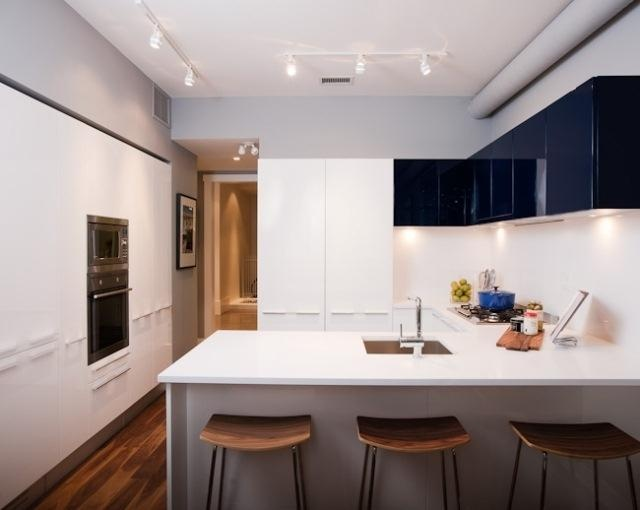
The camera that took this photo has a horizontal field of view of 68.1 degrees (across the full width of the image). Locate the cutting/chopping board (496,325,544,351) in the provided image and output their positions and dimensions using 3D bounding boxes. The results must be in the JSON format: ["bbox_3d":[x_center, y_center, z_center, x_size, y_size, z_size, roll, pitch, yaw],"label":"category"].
[{"bbox_3d":[1.373,0.582,3.220,0.265,0.040,0.434,7,14,32],"label":"cutting/chopping board"}]

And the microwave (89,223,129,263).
[{"bbox_3d":[-1.766,-0.084,3.761,0.224,0.354,0.465,1,2,17],"label":"microwave"}]

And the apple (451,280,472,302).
[{"bbox_3d":[1.397,0.382,4.722,0.198,0.091,0.206,-14,-21,33],"label":"apple"}]

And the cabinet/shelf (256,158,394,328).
[{"bbox_3d":[0.082,-0.126,4.231,1.247,2.215,0.732,0,1,3],"label":"cabinet/shelf"}]

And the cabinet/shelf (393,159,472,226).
[{"bbox_3d":[1.071,-0.581,4.532,0.550,0.567,0.202,0,0,2],"label":"cabinet/shelf"}]
